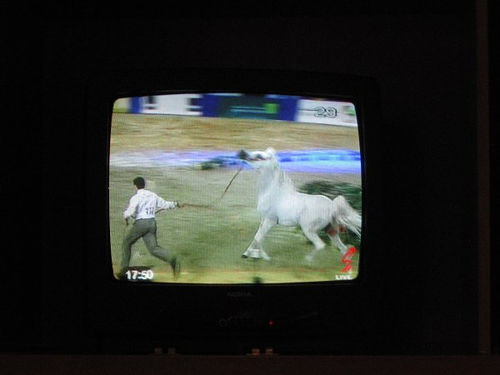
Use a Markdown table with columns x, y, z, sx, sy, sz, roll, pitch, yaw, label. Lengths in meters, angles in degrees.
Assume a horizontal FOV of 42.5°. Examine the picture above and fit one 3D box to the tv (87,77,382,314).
| x | y | z | sx | sy | sz | roll | pitch | yaw | label |
| --- | --- | --- | --- | --- | --- | --- | --- | --- | --- |
| -0.161 | -0.007 | 2.435 | 1.050 | 0.821 | 0.551 | 1 | -1 | -25 | tv |
